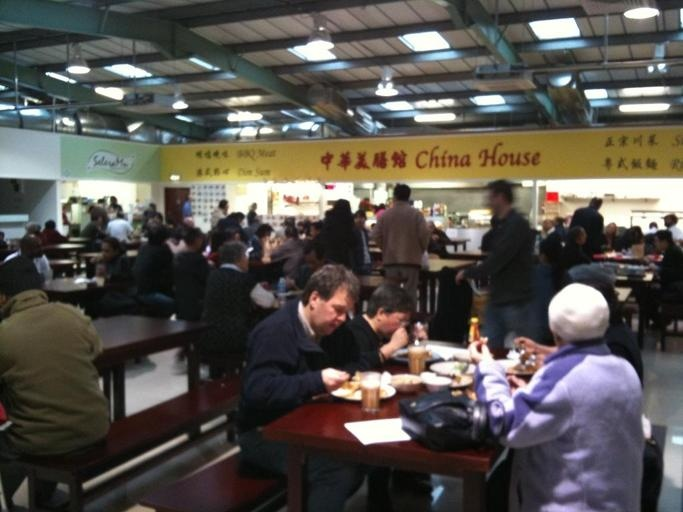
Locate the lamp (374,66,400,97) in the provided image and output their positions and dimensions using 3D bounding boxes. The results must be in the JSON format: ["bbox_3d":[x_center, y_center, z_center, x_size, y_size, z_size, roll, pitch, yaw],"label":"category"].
[{"bbox_3d":[0.764,-2.840,9.697,0.506,0.577,0.550,5,15,6],"label":"lamp"}]

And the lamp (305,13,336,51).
[{"bbox_3d":[-0.200,-2.849,7.504,0.408,0.432,0.404,-3,14,-19],"label":"lamp"}]

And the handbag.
[{"bbox_3d":[0.420,0.673,2.530,0.225,0.084,0.227,-6,11,-11],"label":"handbag"}]

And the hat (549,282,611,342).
[{"bbox_3d":[1.008,0.235,2.495,0.206,0.205,0.267,-2,36,16],"label":"hat"}]
